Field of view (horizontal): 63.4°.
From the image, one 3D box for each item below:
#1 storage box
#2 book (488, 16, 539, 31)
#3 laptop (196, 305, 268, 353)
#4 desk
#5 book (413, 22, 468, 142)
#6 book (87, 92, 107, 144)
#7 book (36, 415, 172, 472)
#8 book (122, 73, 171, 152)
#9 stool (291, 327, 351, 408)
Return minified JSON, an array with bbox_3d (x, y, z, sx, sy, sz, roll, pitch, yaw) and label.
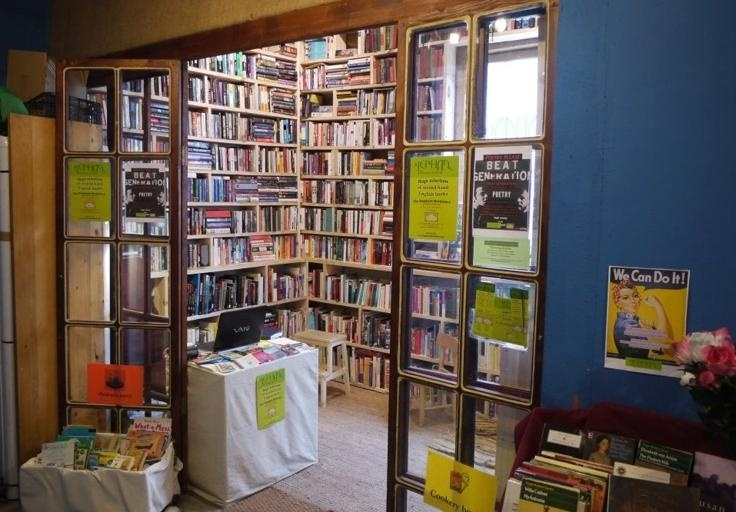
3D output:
[{"bbox_3d":[-2.216,-1.164,3.889,0.256,0.313,0.135,0,11,-30],"label":"storage box"},{"bbox_3d":[0.652,-1.029,2.661,0.212,0.070,0.008,10,10,24],"label":"book"},{"bbox_3d":[-0.883,0.509,4.045,0.345,0.244,0.325,-4,8,-45],"label":"laptop"},{"bbox_3d":[-0.781,1.090,3.885,0.545,0.973,0.996,1,4,34],"label":"desk"},{"bbox_3d":[0.336,-0.818,2.831,0.322,0.539,0.031,11,11,29],"label":"book"},{"bbox_3d":[-1.618,-0.802,3.581,0.147,0.329,0.043,13,12,35],"label":"book"},{"bbox_3d":[-1.585,1.113,3.582,0.747,0.266,0.267,6,10,2],"label":"book"},{"bbox_3d":[-1.328,-0.852,3.535,0.331,0.481,0.081,7,9,4],"label":"book"},{"bbox_3d":[-0.454,0.998,5.564,0.493,0.522,0.430,5,4,39],"label":"stool"}]
